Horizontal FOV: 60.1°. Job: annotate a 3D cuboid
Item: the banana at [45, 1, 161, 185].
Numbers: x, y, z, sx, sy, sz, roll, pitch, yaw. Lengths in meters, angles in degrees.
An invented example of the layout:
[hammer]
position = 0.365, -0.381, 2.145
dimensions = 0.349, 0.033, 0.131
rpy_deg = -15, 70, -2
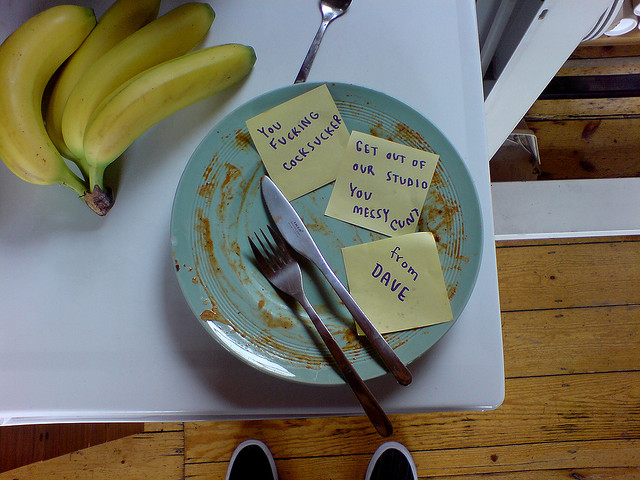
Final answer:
[banana]
position = -0.412, -0.276, 1.043
dimensions = 0.114, 0.080, 0.339
rpy_deg = 31, 85, 15

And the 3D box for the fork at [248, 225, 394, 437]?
[fork]
position = 0.003, 0.146, 1.014
dimensions = 0.052, 0.033, 0.425
rpy_deg = -29, 90, -12

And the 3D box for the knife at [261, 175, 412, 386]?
[knife]
position = 0.029, 0.083, 1.014
dimensions = 0.055, 0.022, 0.437
rpy_deg = -31, 88, -9
